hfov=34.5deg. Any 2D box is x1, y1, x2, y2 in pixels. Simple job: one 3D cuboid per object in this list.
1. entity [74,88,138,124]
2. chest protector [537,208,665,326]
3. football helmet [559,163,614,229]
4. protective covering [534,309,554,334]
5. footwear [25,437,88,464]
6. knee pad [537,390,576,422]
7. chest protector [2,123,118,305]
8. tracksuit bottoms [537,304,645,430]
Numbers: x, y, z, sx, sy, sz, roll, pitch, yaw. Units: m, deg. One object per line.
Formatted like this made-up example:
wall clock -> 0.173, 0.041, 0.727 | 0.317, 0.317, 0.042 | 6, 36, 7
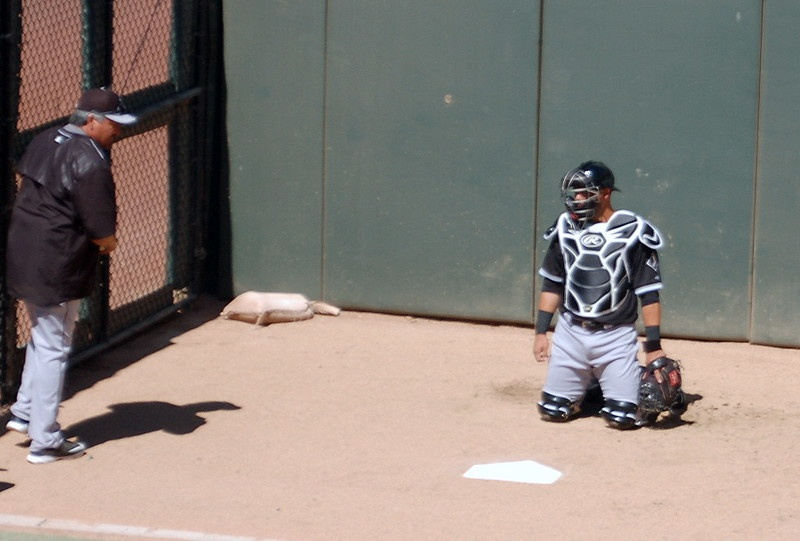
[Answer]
entity -> -1.956, -1.081, 8.432 | 0.425, 0.208, 0.297 | 6, -3, -11
chest protector -> 1.389, -0.018, 8.896 | 0.882, 0.705, 0.475 | 9, 0, 29
football helmet -> 1.303, -0.539, 8.893 | 0.450, 0.429, 0.352 | -7, 4, -36
protective covering -> 0.992, 0.364, 9.056 | 0.143, 0.124, 0.164 | 11, -10, 3
footwear -> -2.242, 1.204, 8.523 | 0.403, 0.149, 0.141 | -11, 17, -26
knee pad -> 1.082, 0.959, 8.950 | 0.175, 0.106, 0.277 | 13, -4, -16
chest protector -> -2.224, -0.386, 8.337 | 0.601, 1.308, 0.497 | 34, 39, 18
tracksuit bottoms -> 1.310, 0.678, 8.890 | 0.789, 0.700, 0.415 | 7, 19, 23
